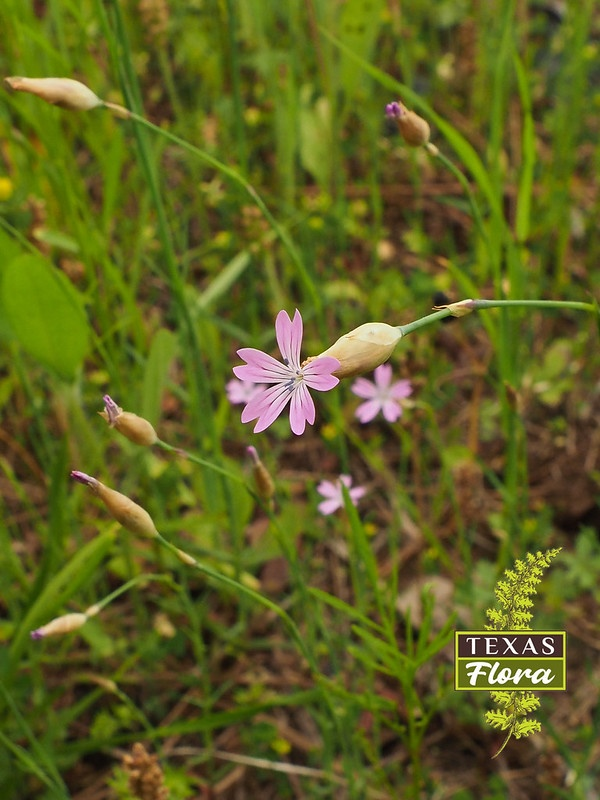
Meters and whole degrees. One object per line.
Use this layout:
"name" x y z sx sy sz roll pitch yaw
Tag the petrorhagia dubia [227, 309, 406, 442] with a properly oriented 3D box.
"petrorhagia dubia" -0.024 -0.039 0.988 0.146 0.141 0.044 -49 49 28
